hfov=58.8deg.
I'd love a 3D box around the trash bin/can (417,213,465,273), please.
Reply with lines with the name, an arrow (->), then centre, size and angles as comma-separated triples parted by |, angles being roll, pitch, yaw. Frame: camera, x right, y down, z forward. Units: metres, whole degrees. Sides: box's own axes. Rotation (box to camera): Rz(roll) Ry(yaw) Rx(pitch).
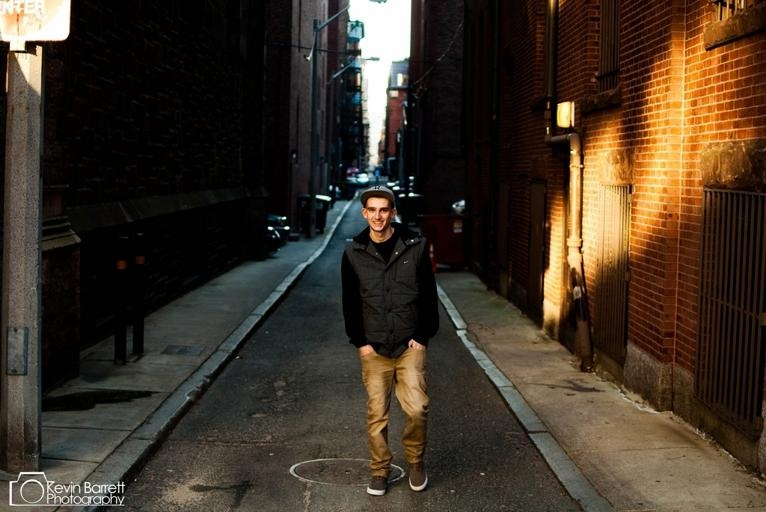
trash bin/can -> 2.037, -0.268, 22.364 | 1.681, 1.874, 1.504 | 0, -15, -14

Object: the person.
person -> 0.111, 1.003, 6.538 | 0.879, 2.553, 0.641 | -5, 14, -5

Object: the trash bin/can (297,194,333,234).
trash bin/can -> -3.463, -2.217, 35.856 | 1.550, 1.998, 1.840 | 0, 7, -6
